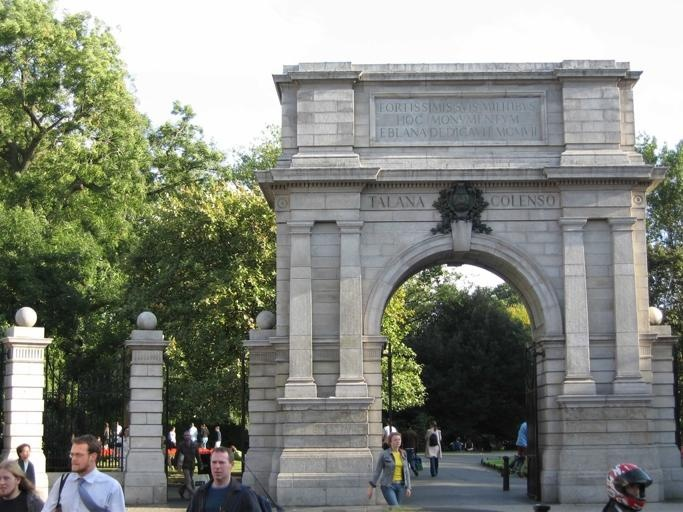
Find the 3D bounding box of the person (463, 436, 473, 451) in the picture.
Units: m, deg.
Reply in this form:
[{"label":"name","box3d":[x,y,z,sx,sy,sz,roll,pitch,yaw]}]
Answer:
[{"label":"person","box3d":[7.042,10.470,82.962,0.515,0.707,0.763,-1,-10,4]}]

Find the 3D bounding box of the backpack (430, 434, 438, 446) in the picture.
[{"label":"backpack","box3d":[3.569,7.240,58.329,0.472,0.562,0.082,-5,-43,0]}]
